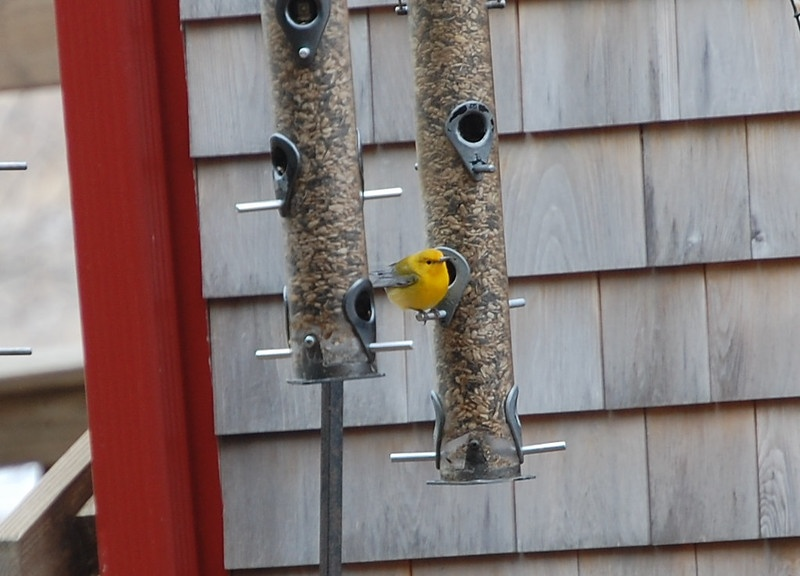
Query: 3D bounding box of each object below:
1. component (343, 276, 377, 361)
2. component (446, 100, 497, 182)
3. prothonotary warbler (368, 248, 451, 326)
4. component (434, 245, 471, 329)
[{"bbox_3d":[-0.181,0.134,10.621,0.074,0.216,0.327,-20,-104,27],"label":"component"},{"bbox_3d":[0.322,-0.692,10.772,0.216,0.179,0.356,-4,-84,-6],"label":"component"},{"bbox_3d":[0.034,-0.077,10.839,0.405,0.236,0.329,18,-77,37],"label":"prothonotary warbler"},{"bbox_3d":[0.253,-0.028,10.793,0.234,0.057,0.281,10,-80,49],"label":"component"}]
